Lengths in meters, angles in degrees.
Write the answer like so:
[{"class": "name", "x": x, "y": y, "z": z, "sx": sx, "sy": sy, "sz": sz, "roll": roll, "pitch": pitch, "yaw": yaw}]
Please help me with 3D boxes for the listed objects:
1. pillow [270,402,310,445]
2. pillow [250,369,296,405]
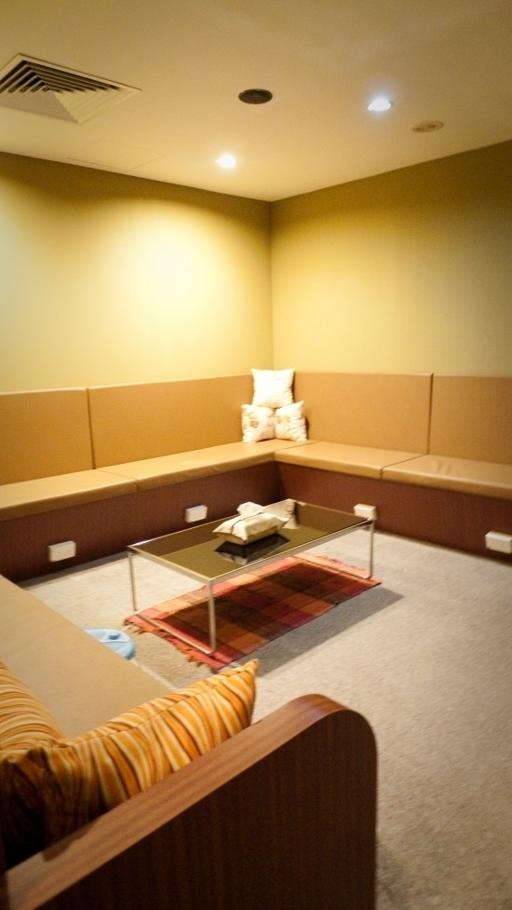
[{"class": "pillow", "x": 0.264, "y": -0.242, "z": 4.694, "sx": 0.267, "sy": 0.325, "sz": 0.101, "roll": 4, "pitch": 7, "yaw": 37}, {"class": "pillow", "x": 0.144, "y": -0.522, "z": 4.745, "sx": 0.254, "sy": 0.313, "sz": 0.131, "roll": -2, "pitch": -5, "yaw": -11}]
